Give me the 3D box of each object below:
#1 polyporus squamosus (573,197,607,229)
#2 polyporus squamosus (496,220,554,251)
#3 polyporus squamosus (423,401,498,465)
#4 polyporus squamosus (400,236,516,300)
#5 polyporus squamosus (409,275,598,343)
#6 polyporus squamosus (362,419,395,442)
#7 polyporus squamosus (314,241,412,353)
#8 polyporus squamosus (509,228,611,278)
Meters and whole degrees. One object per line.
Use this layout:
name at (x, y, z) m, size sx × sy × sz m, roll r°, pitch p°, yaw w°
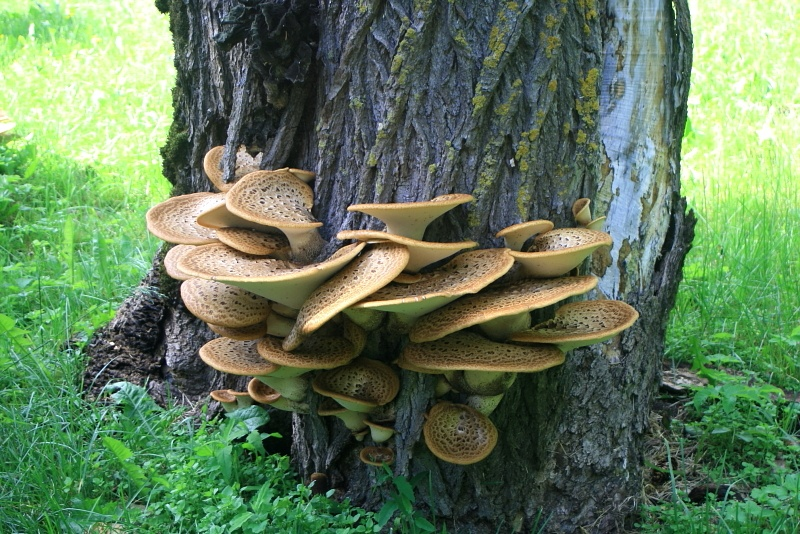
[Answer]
polyporus squamosus at (1.592, -0.442, 6.502) m, size 0.291 × 0.265 × 0.212 m, roll 8°, pitch 18°, yaw 10°
polyporus squamosus at (1.011, -0.302, 6.319) m, size 0.341 × 0.118 × 0.334 m, roll -22°, pitch 9°, yaw -42°
polyporus squamosus at (0.531, 1.373, 6.443) m, size 0.647 × 0.455 × 0.158 m, roll 4°, pitch -15°, yaw 25°
polyporus squamosus at (0.488, 0.022, 6.117) m, size 0.602 × 0.105 × 0.541 m, roll -7°, pitch 12°, yaw 43°
polyporus squamosus at (0.812, 0.329, 6.166) m, size 1.407 × 0.594 × 0.480 m, roll 3°, pitch 18°, yaw -6°
polyporus squamosus at (-0.169, 1.410, 6.665) m, size 0.228 × 0.104 × 0.211 m, roll 9°, pitch -16°, yaw 1°
polyporus squamosus at (-0.177, 0.167, 6.032) m, size 0.747 × 0.124 × 0.501 m, roll -31°, pitch 14°, yaw 18°
polyporus squamosus at (1.284, -0.092, 6.264) m, size 0.764 × 0.433 × 0.423 m, roll 7°, pitch 18°, yaw 7°
